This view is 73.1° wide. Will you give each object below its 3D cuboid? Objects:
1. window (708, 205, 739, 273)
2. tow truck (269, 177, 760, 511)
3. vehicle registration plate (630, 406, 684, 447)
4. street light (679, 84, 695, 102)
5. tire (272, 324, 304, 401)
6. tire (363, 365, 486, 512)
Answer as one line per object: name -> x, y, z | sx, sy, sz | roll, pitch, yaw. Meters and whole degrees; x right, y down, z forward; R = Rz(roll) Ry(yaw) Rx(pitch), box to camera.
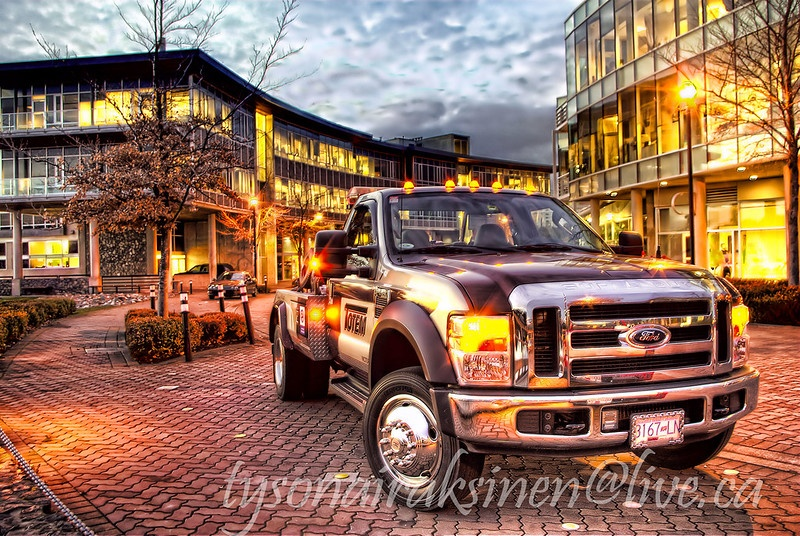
window -> 17.368, -1.345, 28.271 | 1.746, 3.537, 1.788 | -4, 4, -28
tow truck -> 0.553, 0.662, 6.880 | 3.000, 2.215, 5.231 | 1, -4, -21
vehicle registration plate -> 2.258, 1.423, 4.764 | 0.577, 0.317, 0.053 | -2, 4, -18
street light -> 9.508, -5.828, 17.908 | 0.410, 0.524, 0.853 | 1, 4, 26
tire -> -1.835, 1.476, 8.843 | 0.423, 1.228, 1.240 | 1, -19, -26
tire -> 0.158, 1.689, 5.399 | 1.350, 1.346, 0.602 | -1, 0, 43
